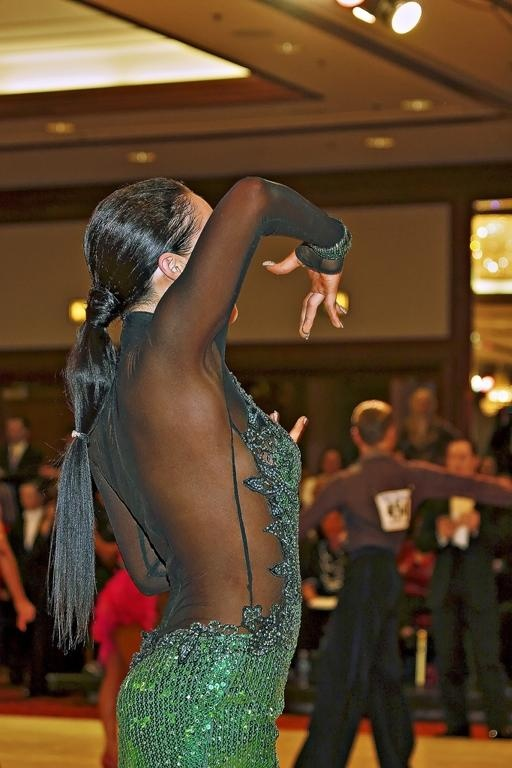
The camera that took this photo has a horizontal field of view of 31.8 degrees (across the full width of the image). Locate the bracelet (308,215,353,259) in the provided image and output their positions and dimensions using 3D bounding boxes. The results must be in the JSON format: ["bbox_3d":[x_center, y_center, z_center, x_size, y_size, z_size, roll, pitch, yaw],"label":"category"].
[{"bbox_3d":[0.103,-0.208,1.290,0.050,0.028,0.059,-31,-13,-18],"label":"bracelet"}]
